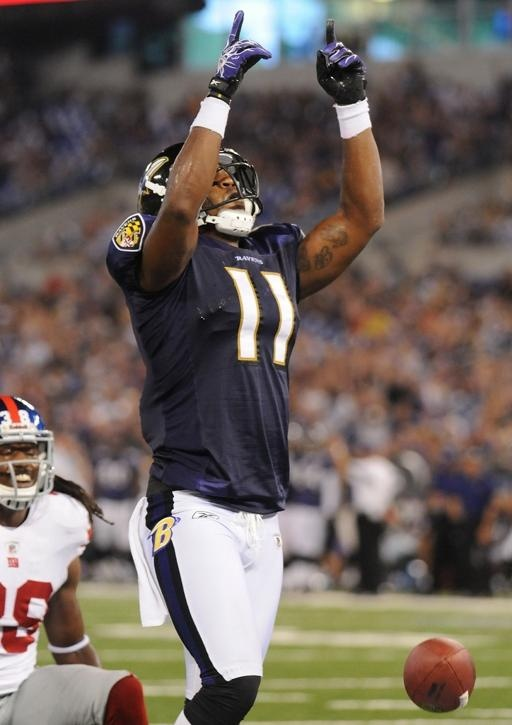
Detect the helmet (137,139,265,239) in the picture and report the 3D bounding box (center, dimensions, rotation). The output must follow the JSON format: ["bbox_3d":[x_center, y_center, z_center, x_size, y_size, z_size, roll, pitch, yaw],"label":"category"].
[{"bbox_3d":[-0.122,-0.435,2.500,0.321,0.218,0.236,-10,-11,29],"label":"helmet"}]
